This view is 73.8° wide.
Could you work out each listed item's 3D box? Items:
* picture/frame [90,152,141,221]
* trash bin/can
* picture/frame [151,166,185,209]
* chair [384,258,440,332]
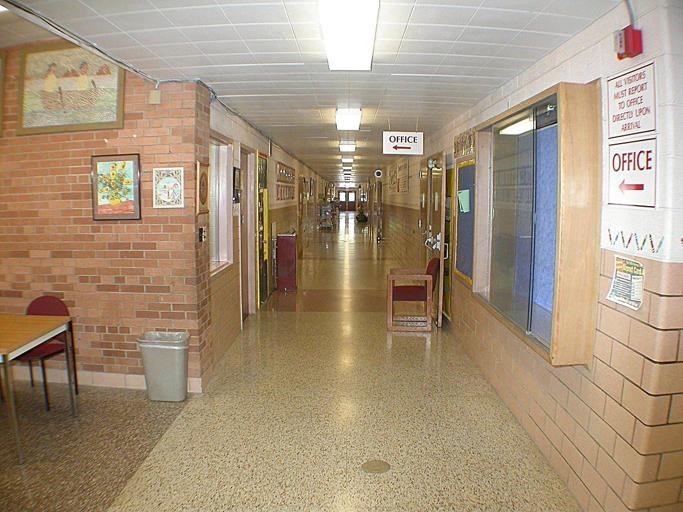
[{"bbox_3d":[-2.274,-0.739,4.666,0.682,0.923,0.033,0,4,10],"label":"picture/frame"},{"bbox_3d":[-1.765,1.115,4.657,0.504,0.646,0.333,0,11,2],"label":"trash bin/can"},{"bbox_3d":[-1.729,-0.712,4.615,0.422,0.529,0.025,0,0,1],"label":"picture/frame"},{"bbox_3d":[1.100,0.641,7.112,0.887,1.191,1.229,1,-2,4],"label":"chair"}]
